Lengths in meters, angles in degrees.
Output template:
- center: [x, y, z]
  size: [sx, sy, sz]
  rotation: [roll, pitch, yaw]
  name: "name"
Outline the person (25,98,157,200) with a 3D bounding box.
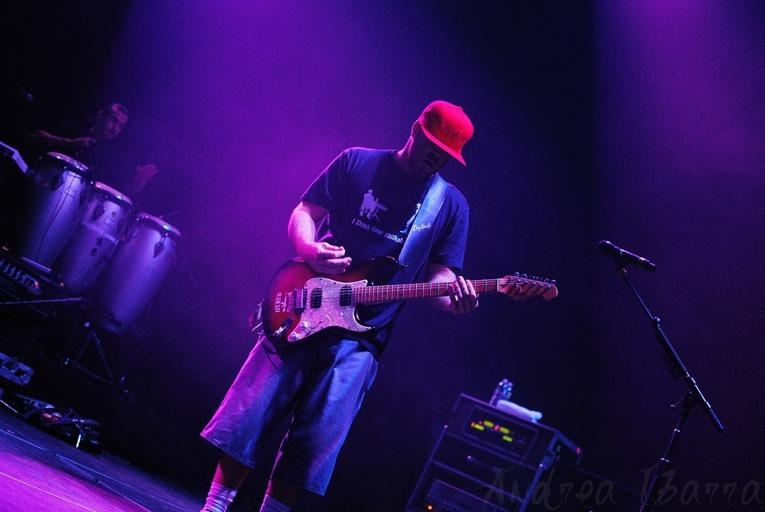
- center: [-3.455, -1.323, 7.715]
  size: [0.982, 0.690, 1.519]
  rotation: [26, -9, 6]
  name: "person"
